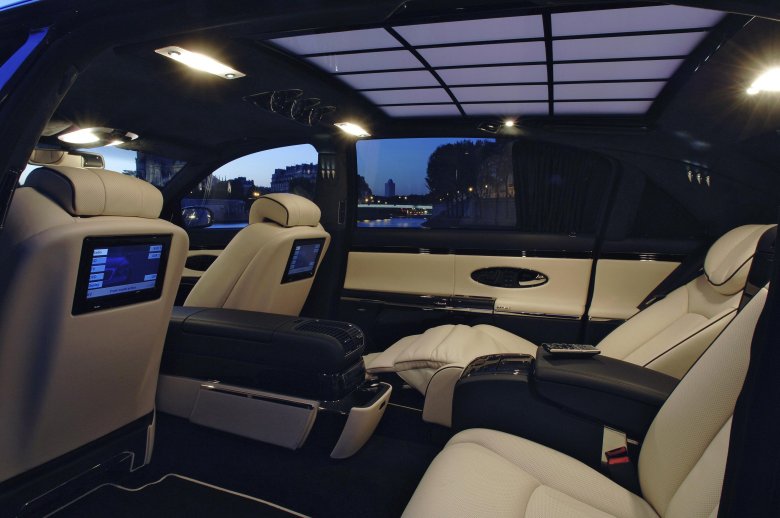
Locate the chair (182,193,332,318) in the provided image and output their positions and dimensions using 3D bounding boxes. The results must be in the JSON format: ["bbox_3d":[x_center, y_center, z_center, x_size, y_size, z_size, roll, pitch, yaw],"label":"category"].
[{"bbox_3d":[-0.837,-0.058,3.493,0.887,1.050,0.720,9,-2,41],"label":"chair"}]

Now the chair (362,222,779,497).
[{"bbox_3d":[0.909,0.338,3.063,2.276,1.583,1.204,8,-1,26],"label":"chair"}]

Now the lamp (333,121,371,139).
[{"bbox_3d":[-0.322,-1.087,4.274,0.294,0.080,0.215,7,4,-4],"label":"lamp"}]
